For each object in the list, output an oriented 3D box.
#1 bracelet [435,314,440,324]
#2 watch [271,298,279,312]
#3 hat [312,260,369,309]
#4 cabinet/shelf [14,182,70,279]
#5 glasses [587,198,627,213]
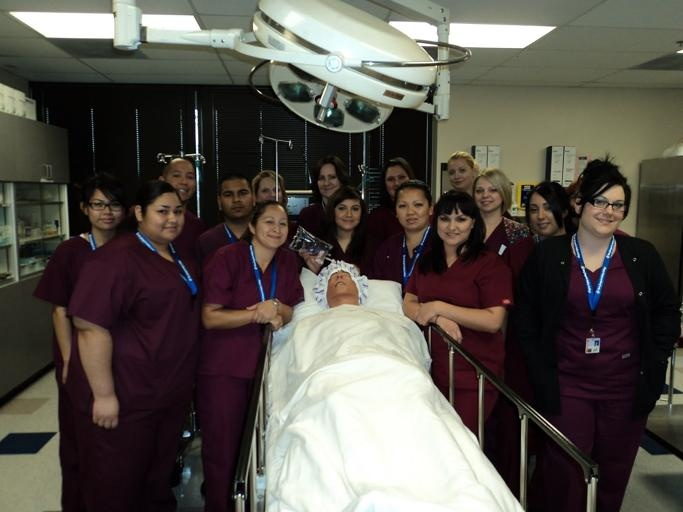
[{"bbox_3d":[0.517,0.345,3.032,0.025,0.034,0.031,-10,-9,21],"label":"bracelet"},{"bbox_3d":[-0.359,0.256,2.999,0.039,0.063,0.055,-9,-11,-25],"label":"watch"},{"bbox_3d":[-0.014,0.201,3.470,0.267,0.295,0.094,-4,-11,3],"label":"hat"},{"bbox_3d":[-2.594,-0.222,4.787,0.249,0.801,0.794,1,8,-1],"label":"cabinet/shelf"},{"bbox_3d":[1.270,-0.246,2.663,0.161,0.066,0.039,0,10,-1],"label":"glasses"}]
